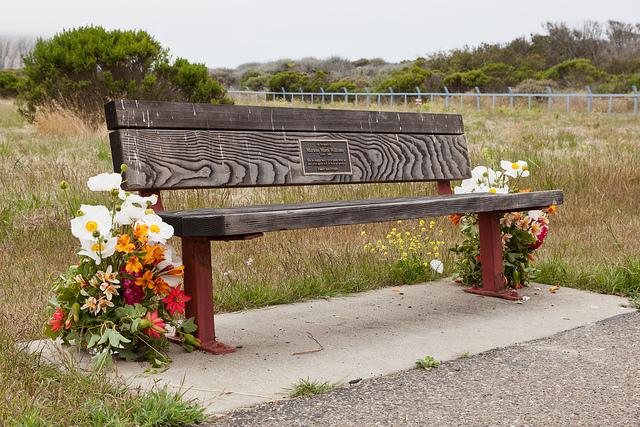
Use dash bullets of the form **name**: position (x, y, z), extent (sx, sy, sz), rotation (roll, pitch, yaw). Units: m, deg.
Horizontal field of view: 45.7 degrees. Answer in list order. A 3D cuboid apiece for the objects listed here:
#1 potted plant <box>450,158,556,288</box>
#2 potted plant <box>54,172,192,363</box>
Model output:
- **potted plant**: position (1.715, 0.165, 7.488), extent (0.904, 1.199, 0.825), rotation (-2, -31, 6)
- **potted plant**: position (-1.524, 0.399, 5.817), extent (1.006, 1.409, 0.823), rotation (-4, 7, -20)
